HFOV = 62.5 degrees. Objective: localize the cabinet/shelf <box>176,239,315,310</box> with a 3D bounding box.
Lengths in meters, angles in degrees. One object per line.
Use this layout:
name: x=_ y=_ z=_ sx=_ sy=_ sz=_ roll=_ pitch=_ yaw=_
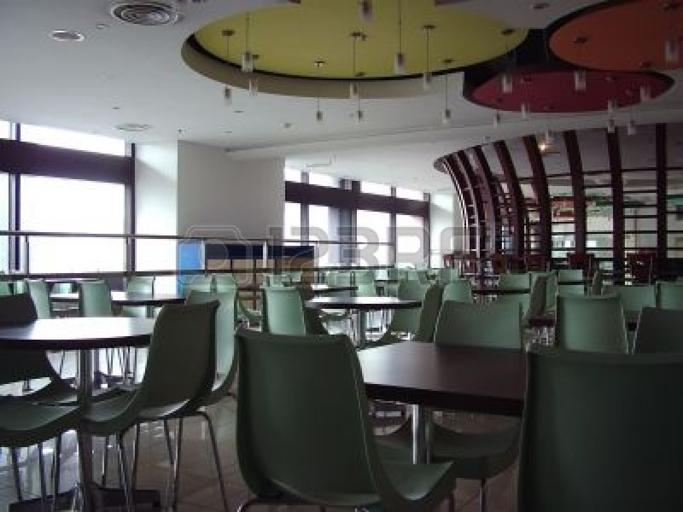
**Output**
cabinet/shelf: x=-1.580 y=0.158 z=10.079 sx=1.868 sy=1.045 sz=1.333 roll=1 pitch=-6 yaw=-4
